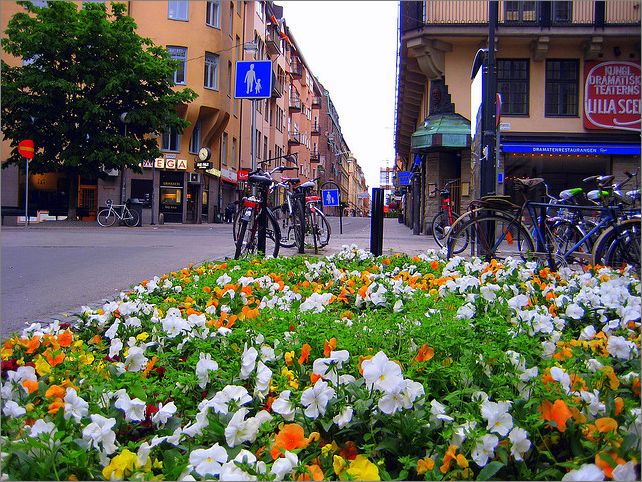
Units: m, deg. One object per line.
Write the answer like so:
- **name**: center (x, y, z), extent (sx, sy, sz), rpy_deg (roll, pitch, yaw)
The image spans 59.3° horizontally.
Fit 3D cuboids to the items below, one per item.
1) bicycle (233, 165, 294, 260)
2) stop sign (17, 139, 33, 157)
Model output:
- **bicycle**: center (-0.815, -0.310, 7.690), extent (0.534, 0.900, 1.282), rpy_deg (2, 8, 5)
- **stop sign**: center (-10.885, -3.431, 20.811), extent (0.457, 0.753, 0.869), rpy_deg (1, 2, -30)
